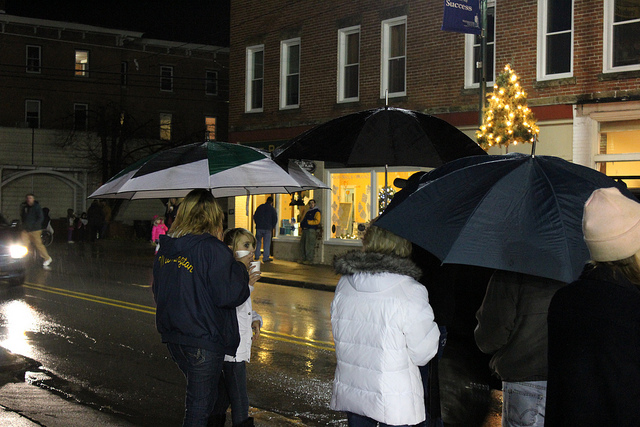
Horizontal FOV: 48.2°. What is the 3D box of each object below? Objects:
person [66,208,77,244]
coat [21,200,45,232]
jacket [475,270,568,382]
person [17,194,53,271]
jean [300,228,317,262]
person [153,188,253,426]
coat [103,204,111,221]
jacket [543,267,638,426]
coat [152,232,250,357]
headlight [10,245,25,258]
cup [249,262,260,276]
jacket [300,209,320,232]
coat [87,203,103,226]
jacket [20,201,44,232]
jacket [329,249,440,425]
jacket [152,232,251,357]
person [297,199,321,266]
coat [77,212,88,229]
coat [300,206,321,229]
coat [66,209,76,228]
[{"bbox_3d":[-11.787,0.524,33.981,0.431,1.606,2.022,-1,4,-19],"label":"person"},{"bbox_3d":[-9.000,0.047,22.196,0.814,0.979,0.548,8,1,5],"label":"coat"},{"bbox_3d":[1.969,0.967,6.742,0.919,1.198,0.649,-2,4,-25],"label":"jacket"},{"bbox_3d":[-8.822,0.464,22.353,1.119,2.210,0.756,8,7,30],"label":"person"},{"bbox_3d":[-0.366,0.986,22.620,0.499,1.135,0.613,0,4,-1],"label":"jean"},{"bbox_3d":[-1.219,0.942,7.297,0.971,2.371,0.409,0,3,-4],"label":"person"},{"bbox_3d":[-10.452,-0.043,34.915,0.251,0.772,0.562,1,4,13],"label":"coat"},{"bbox_3d":[2.012,0.940,5.490,0.613,1.184,0.797,0,-5,-7],"label":"jacket"},{"bbox_3d":[-1.268,0.800,7.533,1.173,1.362,0.908,-2,-3,35],"label":"coat"},{"bbox_3d":[-7.318,0.904,17.201,0.183,0.307,0.413,1,4,14],"label":"headlight"},{"bbox_3d":[-0.735,0.608,8.055,0.103,0.089,0.111,-1,-8,0],"label":"cup"},{"bbox_3d":[-0.264,0.127,22.559,0.496,0.931,0.696,12,-3,-25],"label":"jacket"},{"bbox_3d":[-10.315,0.060,32.744,0.901,1.330,0.664,1,-5,-20],"label":"coat"},{"bbox_3d":[-9.032,0.067,22.405,0.543,0.952,1.223,-1,4,-28],"label":"jacket"},{"bbox_3d":[0.581,1.117,6.565,1.000,1.540,0.397,1,3,9],"label":"jacket"},{"bbox_3d":[-1.207,0.806,7.250,0.938,1.215,0.329,0,3,-3],"label":"jacket"},{"bbox_3d":[-0.328,0.574,22.689,0.608,2.055,1.099,0,4,-13],"label":"person"},{"bbox_3d":[-11.088,0.329,33.346,0.444,0.702,0.995,-1,4,-19],"label":"coat"},{"bbox_3d":[-0.271,0.125,22.422,0.283,0.515,0.512,22,0,-33],"label":"coat"},{"bbox_3d":[-11.752,0.219,33.787,0.299,0.982,1.791,-1,4,-17],"label":"coat"}]
